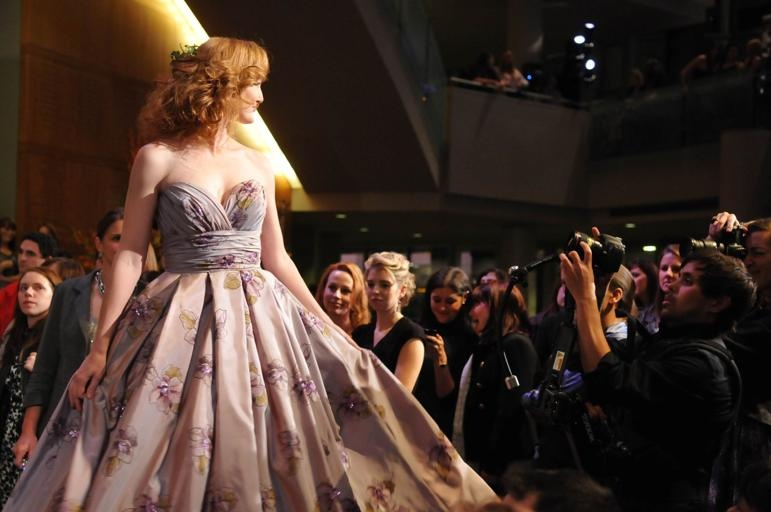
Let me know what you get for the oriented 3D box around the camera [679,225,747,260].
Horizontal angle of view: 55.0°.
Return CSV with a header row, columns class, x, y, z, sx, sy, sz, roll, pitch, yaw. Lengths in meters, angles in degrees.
class,x,y,z,sx,sy,sz,roll,pitch,yaw
camera,1.857,-0.070,4.152,0.279,0.128,0.287,2,-7,-14
